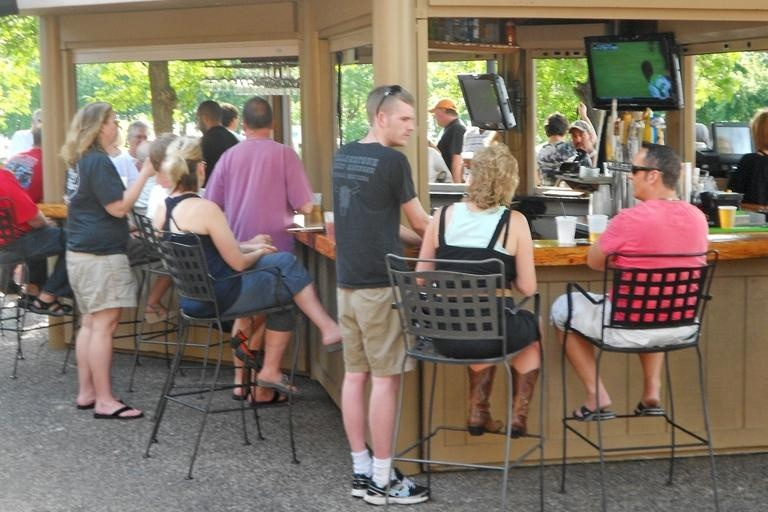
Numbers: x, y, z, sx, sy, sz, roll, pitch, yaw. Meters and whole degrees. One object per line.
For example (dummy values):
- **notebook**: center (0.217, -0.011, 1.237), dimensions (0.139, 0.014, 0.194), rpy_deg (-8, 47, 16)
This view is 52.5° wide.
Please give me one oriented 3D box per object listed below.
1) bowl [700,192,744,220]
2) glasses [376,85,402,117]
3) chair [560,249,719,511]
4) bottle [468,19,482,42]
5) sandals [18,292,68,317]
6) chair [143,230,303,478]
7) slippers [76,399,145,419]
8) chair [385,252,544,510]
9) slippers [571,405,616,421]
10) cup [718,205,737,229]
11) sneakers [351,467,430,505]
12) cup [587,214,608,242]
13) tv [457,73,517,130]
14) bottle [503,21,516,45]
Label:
- **bowl**: center (2.648, -0.375, 6.025), dimensions (0.296, 0.224, 0.233), rpy_deg (-1, 5, -9)
- **glasses**: center (0.036, -0.957, 4.802), dimensions (0.065, 0.164, 0.162), rpy_deg (25, 9, -1)
- **chair**: center (1.671, 0.736, 5.023), dimensions (1.031, 1.641, 1.004), rpy_deg (0, 14, 13)
- **bottle**: center (0.823, -2.016, 6.962), dimensions (0.029, 0.189, 0.118), rpy_deg (10, 19, 43)
- **sandals**: center (-3.099, 0.455, 7.122), dimensions (0.489, 0.154, 0.185), rpy_deg (6, 1, -12)
- **chair**: center (-1.316, 0.555, 5.906), dimensions (1.151, 1.648, 1.790), rpy_deg (-7, 13, -16)
- **slippers**: center (-2.182, 1.247, 6.186), dimensions (0.536, 0.122, 0.196), rpy_deg (0, 2, -5)
- **chair**: center (0.478, 0.785, 4.761), dimensions (0.964, 1.672, 0.832), rpy_deg (2, 15, 22)
- **slippers**: center (1.327, 0.983, 4.885), dimensions (0.248, 0.077, 0.133), rpy_deg (1, -3, 11)
- **cup**: center (2.526, -0.277, 5.728), dimensions (0.112, 0.154, 0.144), rpy_deg (1, 14, 17)
- **sneakers**: center (0.056, 1.472, 4.942), dimensions (0.542, 0.216, 0.202), rpy_deg (1, -1, -12)
- **cup**: center (1.424, -0.179, 5.310), dimensions (0.168, 0.157, 0.168), rpy_deg (2, 8, 0)
- **tv**: center (0.896, -1.338, 6.783), dimensions (0.332, 0.490, 0.732), rpy_deg (-5, 13, -8)
- **bottle**: center (1.183, -2.039, 7.158), dimensions (0.071, 0.227, 0.167), rpy_deg (5, 15, 30)
